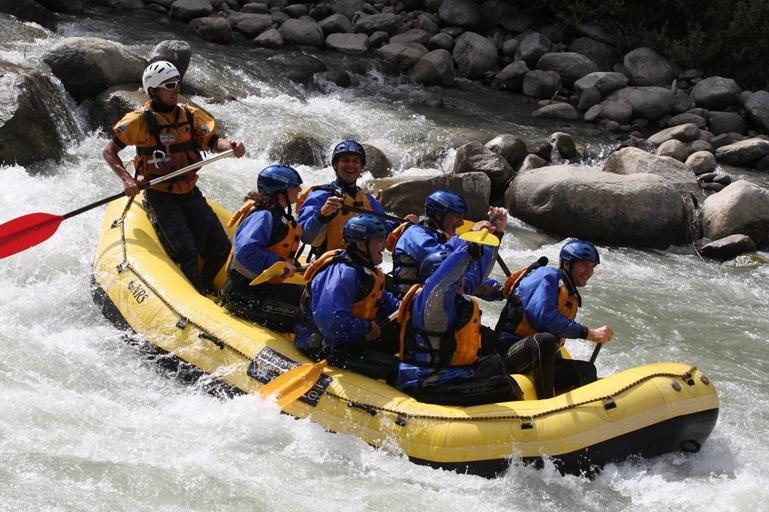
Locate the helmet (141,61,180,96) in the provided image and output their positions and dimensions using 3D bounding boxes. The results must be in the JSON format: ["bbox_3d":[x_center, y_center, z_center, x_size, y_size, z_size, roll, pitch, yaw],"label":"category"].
[{"bbox_3d":[-2.553,-2.050,9.505,0.386,0.379,0.277,9,20,8],"label":"helmet"}]

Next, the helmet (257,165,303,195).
[{"bbox_3d":[-1.141,-0.836,8.963,0.400,0.263,0.296,12,-1,-8],"label":"helmet"}]

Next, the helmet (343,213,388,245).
[{"bbox_3d":[-0.194,-0.294,8.402,0.346,0.336,0.272,-15,9,9],"label":"helmet"}]

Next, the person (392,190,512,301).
[{"bbox_3d":[0.711,-0.117,8.961,1.118,1.361,1.154,-1,0,20],"label":"person"}]

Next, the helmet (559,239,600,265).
[{"bbox_3d":[2.075,-0.047,8.776,0.327,0.294,0.267,7,2,17],"label":"helmet"}]

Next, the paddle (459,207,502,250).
[{"bbox_3d":[0.954,-0.231,8.017,0.257,0.114,0.796,9,24,10],"label":"paddle"}]

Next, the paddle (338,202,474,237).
[{"bbox_3d":[0.225,-0.405,9.117,0.636,0.236,0.491,20,7,24],"label":"paddle"}]

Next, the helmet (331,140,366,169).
[{"bbox_3d":[-0.447,-1.167,9.503,0.406,0.272,0.296,-8,6,8],"label":"helmet"}]
